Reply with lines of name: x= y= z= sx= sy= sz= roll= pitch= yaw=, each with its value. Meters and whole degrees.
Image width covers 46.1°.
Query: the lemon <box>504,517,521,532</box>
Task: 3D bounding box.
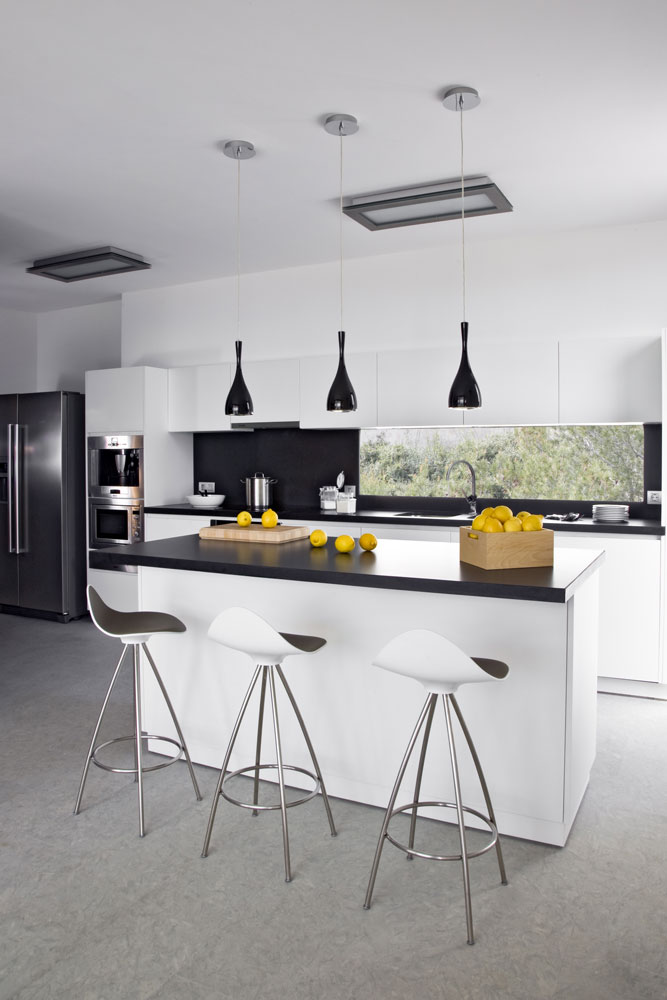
lemon: x=0.615 y=0.073 z=2.694 sx=0.042 sy=0.061 sz=0.047 roll=3 pitch=10 yaw=31

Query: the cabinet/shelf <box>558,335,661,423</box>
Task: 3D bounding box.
cabinet/shelf: x=1.606 y=-0.634 z=4.621 sx=0.677 sy=0.712 sz=0.377 roll=2 pitch=4 yaw=30

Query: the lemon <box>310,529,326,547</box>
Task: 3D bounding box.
lemon: x=-0.066 y=0.149 z=3.292 sx=0.060 sy=0.076 sz=0.065 roll=3 pitch=2 yaw=7

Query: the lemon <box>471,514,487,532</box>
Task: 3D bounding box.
lemon: x=0.508 y=0.061 z=2.724 sx=0.030 sy=0.070 sz=0.031 roll=4 pitch=-30 yaw=10

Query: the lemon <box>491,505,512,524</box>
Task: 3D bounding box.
lemon: x=0.586 y=0.037 z=2.743 sx=0.054 sy=0.081 sz=0.066 roll=0 pitch=13 yaw=5

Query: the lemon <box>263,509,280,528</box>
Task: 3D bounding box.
lemon: x=-0.306 y=0.079 z=3.639 sx=0.065 sy=0.107 sz=0.093 roll=-2 pitch=-6 yaw=12

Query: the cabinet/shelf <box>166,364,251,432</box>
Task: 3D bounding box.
cabinet/shelf: x=-0.869 y=-0.729 z=5.506 sx=0.526 sy=0.537 sz=0.180 roll=1 pitch=3 yaw=34

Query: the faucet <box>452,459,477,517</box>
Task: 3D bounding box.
faucet: x=0.870 y=-0.101 z=5.125 sx=0.138 sy=0.359 sz=0.438 roll=0 pitch=3 yaw=9

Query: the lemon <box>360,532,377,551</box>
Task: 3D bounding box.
lemon: x=0.134 y=0.159 z=3.174 sx=0.050 sy=0.059 sz=0.067 roll=6 pitch=8 yaw=-36

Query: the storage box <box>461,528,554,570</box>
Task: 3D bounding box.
storage box: x=0.589 y=0.158 z=2.707 sx=0.325 sy=0.128 sz=0.278 roll=1 pitch=3 yaw=15

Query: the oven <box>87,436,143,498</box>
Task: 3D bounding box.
oven: x=-1.642 y=-0.259 z=6.065 sx=0.426 sy=0.507 sz=0.250 roll=1 pitch=1 yaw=5

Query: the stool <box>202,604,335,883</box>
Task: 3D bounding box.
stool: x=-0.224 y=0.712 z=2.729 sx=0.448 sy=0.826 sz=0.842 roll=0 pitch=3 yaw=-5

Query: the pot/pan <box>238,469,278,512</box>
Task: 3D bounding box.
pot/pan: x=-0.601 y=-0.078 z=5.965 sx=0.297 sy=0.359 sz=0.256 roll=0 pitch=4 yaw=14

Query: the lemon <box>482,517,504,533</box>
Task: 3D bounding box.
lemon: x=0.532 y=0.069 z=2.644 sx=0.045 sy=0.066 sz=0.048 roll=2 pitch=9 yaw=24

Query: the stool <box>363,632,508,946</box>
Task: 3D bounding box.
stool: x=0.317 y=0.734 z=2.390 sx=0.419 sy=0.828 sz=0.733 roll=0 pitch=3 yaw=11

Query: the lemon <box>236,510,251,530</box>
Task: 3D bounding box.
lemon: x=-0.422 y=0.081 z=3.629 sx=0.066 sy=0.082 sz=0.070 roll=0 pitch=-5 yaw=6

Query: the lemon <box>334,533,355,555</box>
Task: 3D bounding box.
lemon: x=0.039 y=0.165 z=3.092 sx=0.053 sy=0.064 sz=0.079 roll=5 pitch=-14 yaw=-1
